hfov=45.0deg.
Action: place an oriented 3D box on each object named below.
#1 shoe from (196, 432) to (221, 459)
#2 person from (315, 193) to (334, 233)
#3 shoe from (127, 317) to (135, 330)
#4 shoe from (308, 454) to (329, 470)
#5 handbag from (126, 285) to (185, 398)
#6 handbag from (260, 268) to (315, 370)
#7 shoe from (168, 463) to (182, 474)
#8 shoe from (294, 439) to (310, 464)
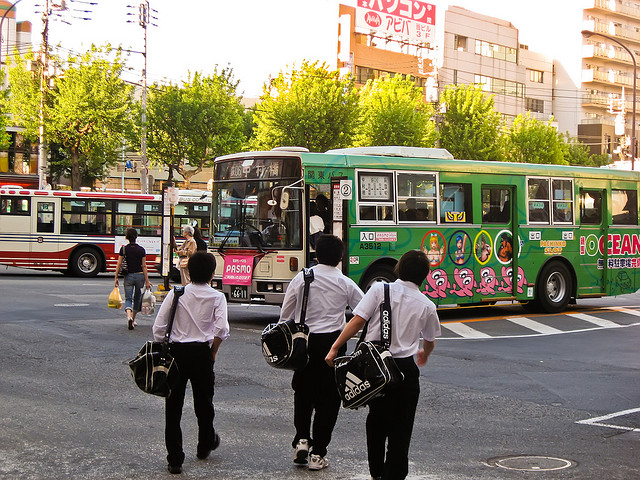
[{"bbox_3d":[-1.240,2.291,8.593,0.255,0.280,0.214,3,-1,-21],"label":"shoe"},{"bbox_3d":[0.124,-0.581,16.631,0.396,0.746,0.507,-7,1,-20],"label":"person"},{"bbox_3d":[-3.949,1.731,16.082,0.098,0.306,0.123,-1,10,-11],"label":"shoe"},{"bbox_3d":[-0.020,2.407,8.328,0.098,0.117,0.267,3,5,34],"label":"shoe"},{"bbox_3d":[-1.739,1.085,8.247,0.553,1.215,0.312,2,0,-12],"label":"handbag"},{"bbox_3d":[-0.363,0.889,8.654,0.568,1.110,0.303,2,0,-2],"label":"handbag"},{"bbox_3d":[-1.534,2.401,8.119,0.095,0.062,0.099,-3,-5,30],"label":"shoe"},{"bbox_3d":[-0.196,2.324,8.471,0.159,0.262,0.114,2,0,-2],"label":"shoe"}]
